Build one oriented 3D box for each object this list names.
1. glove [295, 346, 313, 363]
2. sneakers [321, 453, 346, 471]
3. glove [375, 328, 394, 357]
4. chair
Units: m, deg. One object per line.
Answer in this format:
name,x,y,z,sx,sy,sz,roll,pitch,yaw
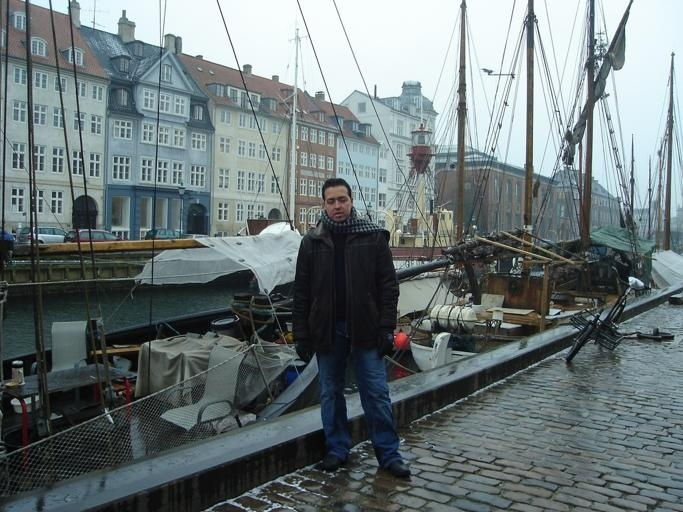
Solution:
glove,-0.322,0.852,5.731,0.161,0.247,0.128,-1,-9,-5
sneakers,-0.075,1.781,5.745,0.192,0.068,0.110,3,-11,-42
glove,0.390,0.748,5.684,0.131,0.206,0.195,1,10,13
chair,-1.524,1.431,7.405,0.518,0.723,0.971,4,2,26
